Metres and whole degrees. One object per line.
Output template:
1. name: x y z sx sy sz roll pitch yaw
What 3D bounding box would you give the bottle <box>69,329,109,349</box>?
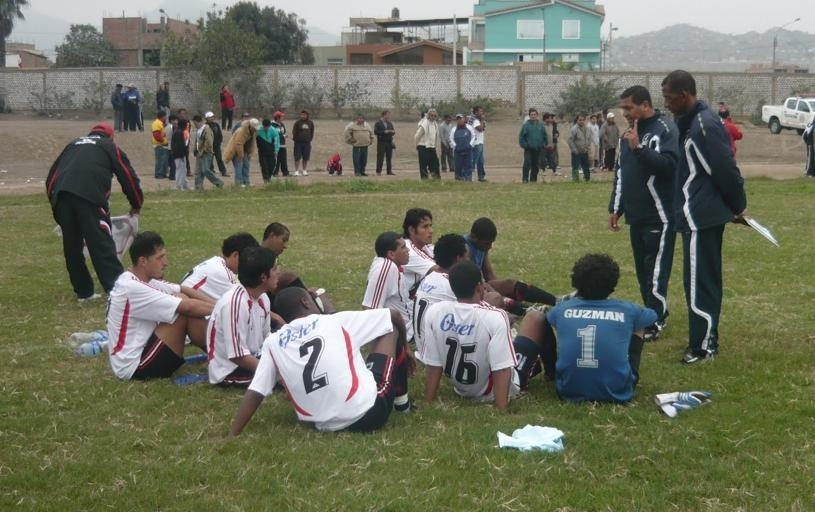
1. bottle: -5.170 1.310 17.565 0.453 0.171 0.293 -8 25 -18

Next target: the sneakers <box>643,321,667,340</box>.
1. sneakers: 3.963 1.188 17.361 0.482 0.167 0.207 -25 2 -10

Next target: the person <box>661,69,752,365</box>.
1. person: 4.620 -0.641 16.998 1.188 4.479 0.915 5 12 30

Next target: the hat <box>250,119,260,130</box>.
1. hat: -3.885 -3.400 27.643 0.222 0.278 0.286 3 34 -3

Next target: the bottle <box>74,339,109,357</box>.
1. bottle: -5.024 1.468 17.393 0.244 0.132 0.362 7 12 28

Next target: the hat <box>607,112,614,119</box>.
1. hat: 5.757 -3.994 30.660 0.182 0.121 0.254 -22 9 -17
